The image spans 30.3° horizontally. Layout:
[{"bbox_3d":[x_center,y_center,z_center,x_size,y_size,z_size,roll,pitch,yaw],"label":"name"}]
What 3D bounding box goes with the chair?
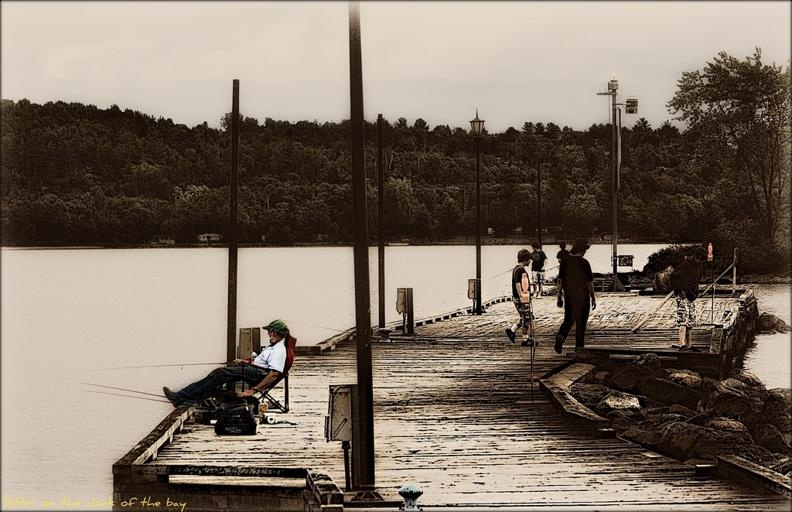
[{"bbox_3d":[-7.224,6.649,85.074,2.718,4.459,2.428,-2,4,-9],"label":"chair"}]
